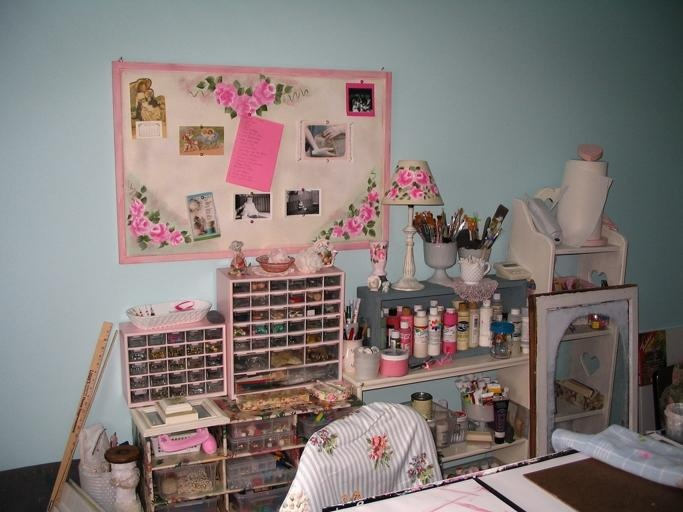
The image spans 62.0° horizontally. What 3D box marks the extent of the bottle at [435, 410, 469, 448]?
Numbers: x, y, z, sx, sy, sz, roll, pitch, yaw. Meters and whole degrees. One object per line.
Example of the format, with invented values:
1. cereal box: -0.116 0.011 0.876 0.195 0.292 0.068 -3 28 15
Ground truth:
1. bottle: 0.577 0.890 2.985 0.175 0.174 0.146 1 5 9

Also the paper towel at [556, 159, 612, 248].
1. paper towel: 1.369 -0.300 3.252 0.316 0.464 0.365 -2 5 -22

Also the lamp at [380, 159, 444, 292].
1. lamp: 0.333 -0.145 3.039 0.314 0.689 0.349 0 0 -6

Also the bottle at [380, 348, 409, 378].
1. bottle: 0.263 0.519 2.821 0.127 0.088 0.128 0 4 0

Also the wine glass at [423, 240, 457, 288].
1. wine glass: 0.527 0.042 3.072 0.219 0.262 0.221 0 4 -3

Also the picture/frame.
1. picture/frame: -0.403 -0.472 2.869 1.408 0.940 0.040 -4 9 -20

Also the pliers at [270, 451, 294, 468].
1. pliers: -0.269 0.950 2.683 0.086 0.061 0.100 -5 9 -26

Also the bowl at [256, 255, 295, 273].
1. bowl: -0.315 0.037 2.715 0.169 0.073 0.084 -3 9 -11
